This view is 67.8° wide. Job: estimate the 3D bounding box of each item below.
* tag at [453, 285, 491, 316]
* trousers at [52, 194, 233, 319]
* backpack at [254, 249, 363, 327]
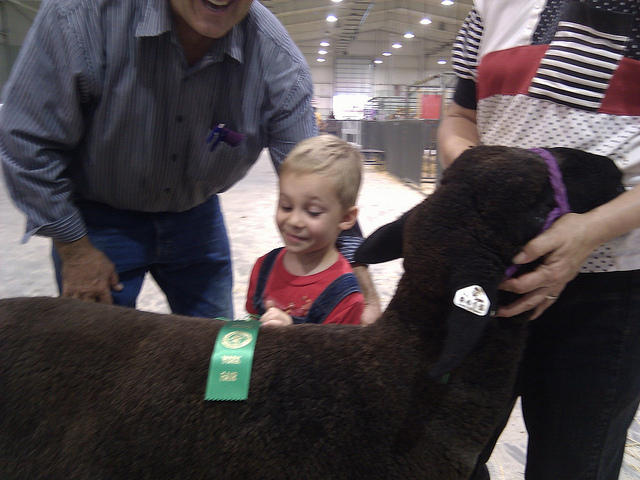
[{"bbox_3d":[0.263,0.104,0.818,0.050,0.038,0.049,-7,40,-13],"label":"tag"},{"bbox_3d":[-0.565,0.048,1.757,0.473,0.560,0.364,-9,45,-15],"label":"trousers"},{"bbox_3d":[-0.020,0.144,1.419,0.378,0.213,0.176,6,38,36],"label":"backpack"}]
